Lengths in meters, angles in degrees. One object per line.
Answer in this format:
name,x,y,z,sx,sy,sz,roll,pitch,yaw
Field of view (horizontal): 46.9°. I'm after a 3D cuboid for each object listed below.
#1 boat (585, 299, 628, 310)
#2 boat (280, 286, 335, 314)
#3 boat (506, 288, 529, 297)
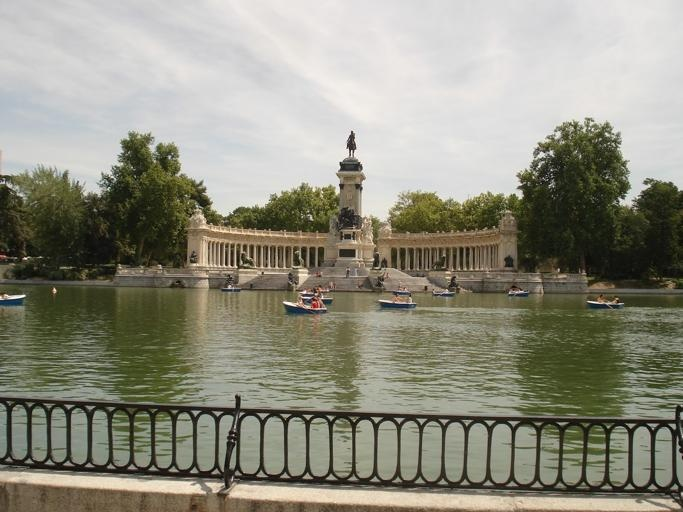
boat,16.497,3.149,49.458,2.309,0.557,1.107,0,4,8
boat,-1.582,2.722,43.012,1.117,1.405,3.405,10,-2,25
boat,15.457,3.421,69.966,1.803,0.708,1.021,1,-1,20
